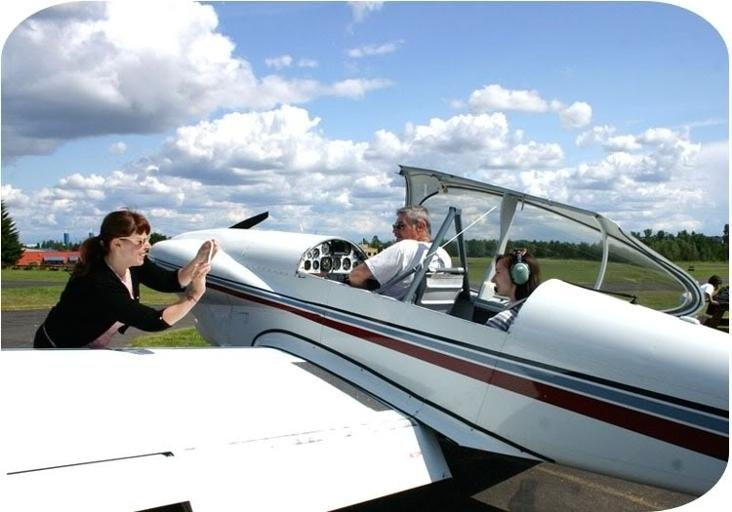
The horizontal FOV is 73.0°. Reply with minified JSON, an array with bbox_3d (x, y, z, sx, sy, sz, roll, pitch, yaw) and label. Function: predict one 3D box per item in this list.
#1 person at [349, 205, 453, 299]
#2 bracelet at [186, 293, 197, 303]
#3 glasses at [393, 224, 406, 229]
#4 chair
[{"bbox_3d":[0.402,0.034,4.530,0.895,0.701,0.491,-1,13,-41],"label":"person"},{"bbox_3d":[-1.313,0.323,3.730,0.066,0.056,0.051,-17,-49,45],"label":"bracelet"},{"bbox_3d":[0.323,-0.293,4.923,0.095,0.046,0.119,4,-1,-21],"label":"glasses"},{"bbox_3d":[0.687,0.362,4.751,0.502,0.494,0.491,12,7,43],"label":"chair"}]
